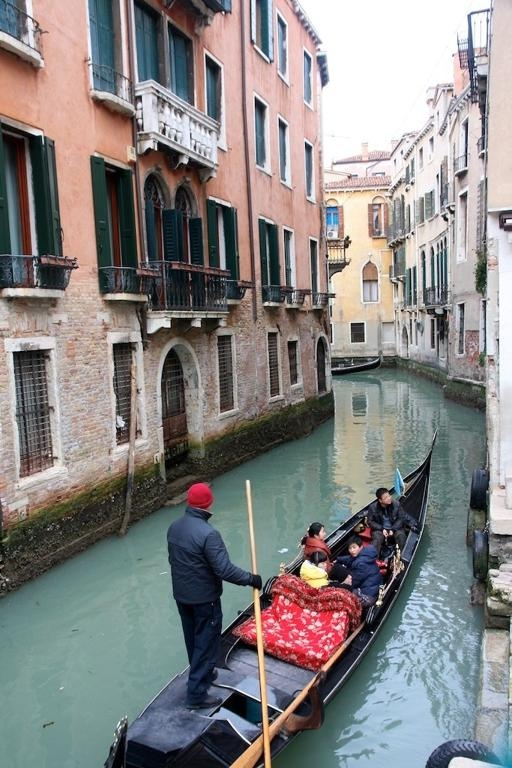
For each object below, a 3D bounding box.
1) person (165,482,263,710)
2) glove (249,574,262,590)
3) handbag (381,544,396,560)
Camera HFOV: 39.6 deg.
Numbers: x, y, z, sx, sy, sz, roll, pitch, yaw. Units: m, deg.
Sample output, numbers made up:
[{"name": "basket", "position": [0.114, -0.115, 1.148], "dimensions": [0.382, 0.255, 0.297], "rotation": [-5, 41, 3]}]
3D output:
[{"name": "person", "position": [-0.316, 1.435, 4.845], "dimensions": [0.504, 1.283, 0.374], "rotation": [-4, 2, -10]}, {"name": "glove", "position": [0.009, 1.308, 4.713], "dimensions": [0.037, 0.122, 0.075], "rotation": [-21, 4, -37]}, {"name": "handbag", "position": [1.586, 1.962, 8.494], "dimensions": [0.185, 0.057, 0.209], "rotation": [-14, 12, 15]}]
